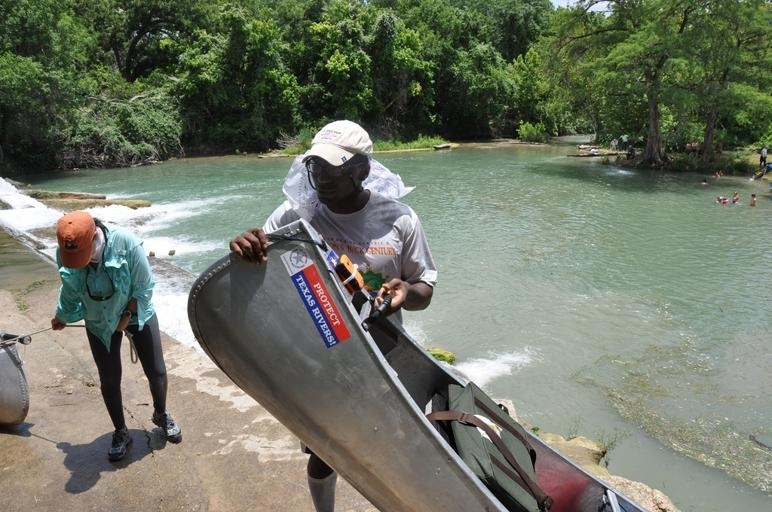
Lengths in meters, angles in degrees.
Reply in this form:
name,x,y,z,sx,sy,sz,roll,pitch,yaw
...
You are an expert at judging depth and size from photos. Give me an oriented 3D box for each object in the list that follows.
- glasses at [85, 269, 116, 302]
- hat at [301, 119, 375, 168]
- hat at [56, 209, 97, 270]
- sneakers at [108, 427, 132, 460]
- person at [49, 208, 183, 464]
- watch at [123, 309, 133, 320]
name,x,y,z,sx,sy,sz,roll,pitch,yaw
glasses,-2.751,0.305,5.057,0.219,0.342,0.094,-25,3,-12
hat,-0.368,-0.868,4.133,0.353,0.249,0.499,6,9,32
hat,-2.881,-0.159,4.904,0.341,0.502,0.266,-3,-19,-4
sneakers,-2.704,1.924,5.352,0.136,0.161,0.359,-3,7,-4
person,-2.719,0.786,5.295,0.892,2.506,0.503,-10,15,-27
watch,-2.533,0.566,5.155,0.079,0.050,0.079,19,-16,-37
